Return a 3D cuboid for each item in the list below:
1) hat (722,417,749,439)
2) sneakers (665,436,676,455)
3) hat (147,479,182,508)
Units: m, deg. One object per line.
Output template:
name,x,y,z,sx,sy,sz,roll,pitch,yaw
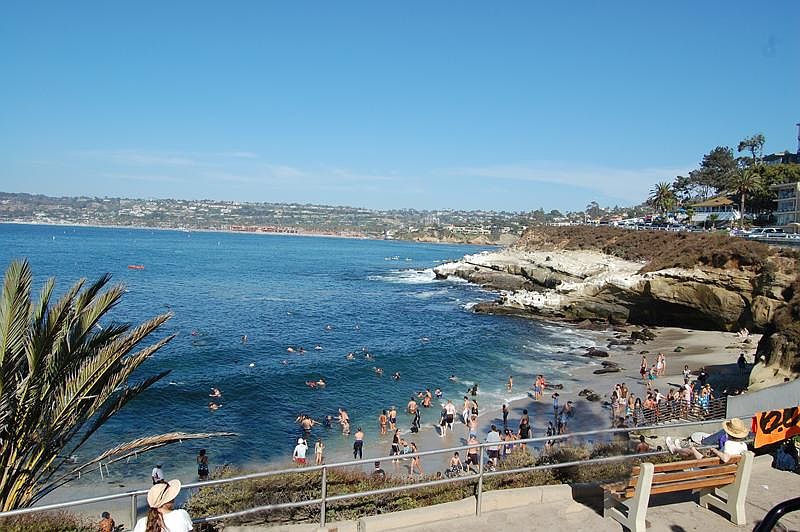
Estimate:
hat,6.809,3.260,12.425,0.464,0.371,0.358,4,10,39
sneakers,5.594,3.664,12.573,0.238,0.291,0.091,9,-10,26
hat,-3.924,3.799,10.312,0.654,0.490,0.172,-7,-42,16
